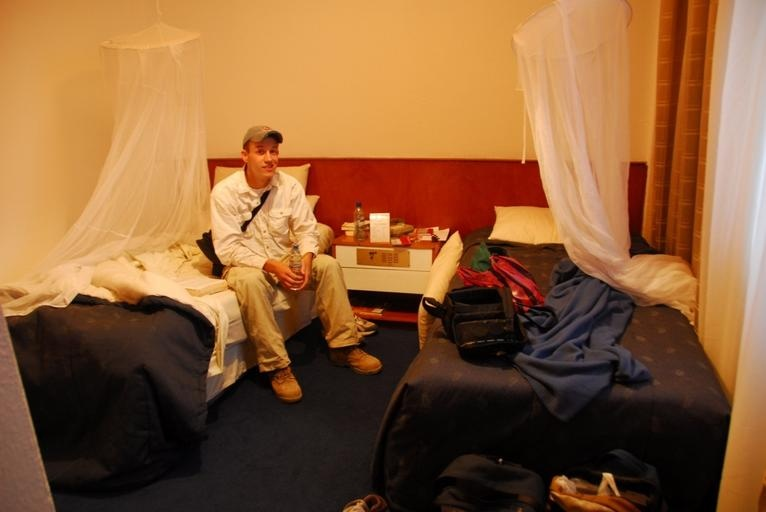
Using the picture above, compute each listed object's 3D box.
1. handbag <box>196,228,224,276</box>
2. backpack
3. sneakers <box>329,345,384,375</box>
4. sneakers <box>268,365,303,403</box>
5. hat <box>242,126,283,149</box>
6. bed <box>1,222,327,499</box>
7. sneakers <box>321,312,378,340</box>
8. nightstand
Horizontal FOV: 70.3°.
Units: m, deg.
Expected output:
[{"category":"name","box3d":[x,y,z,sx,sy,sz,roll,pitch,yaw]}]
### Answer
[{"category":"handbag","box3d":[-1.123,-0.030,3.707,0.201,0.278,0.096,-27,5,12]},{"category":"backpack","box3d":[0.586,0.301,2.882,0.401,0.200,0.542,0,36,21]},{"category":"sneakers","box3d":[-0.152,0.665,3.691,0.377,0.250,0.154,3,27,14]},{"category":"sneakers","box3d":[-0.601,0.795,3.392,0.110,0.130,0.296,-9,14,-31]},{"category":"hat","box3d":[-0.806,-0.798,3.607,0.234,0.122,0.279,-5,16,0]},{"category":"bed","box3d":[-1.307,0.643,2.926,1.067,0.337,0.905,-28,46,-29]},{"category":"sneakers","box3d":[-0.169,0.510,4.071,0.238,0.111,0.101,7,18,23]},{"category":"nightstand","box3d":[0.070,0.057,4.425,1.006,0.878,0.584,3,9,15]}]
